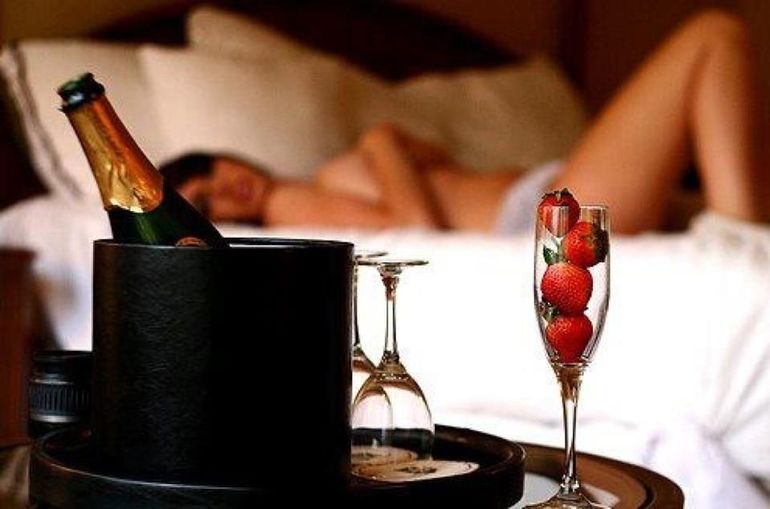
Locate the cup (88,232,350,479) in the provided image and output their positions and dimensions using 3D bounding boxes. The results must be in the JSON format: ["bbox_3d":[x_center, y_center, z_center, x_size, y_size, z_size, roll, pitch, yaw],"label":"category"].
[{"bbox_3d":[-0.167,0.088,0.757,0.217,0.213,0.193,2,-2,-30],"label":"cup"}]

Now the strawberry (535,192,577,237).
[{"bbox_3d":[0.172,-0.041,0.816,0.043,0.048,0.040,0,-7,-41],"label":"strawberry"}]

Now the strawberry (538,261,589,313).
[{"bbox_3d":[0.177,0.032,0.769,0.055,0.050,0.047,-2,-26,-8],"label":"strawberry"}]

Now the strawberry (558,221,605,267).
[{"bbox_3d":[0.193,-0.010,0.764,0.045,0.041,0.043,-20,19,22],"label":"strawberry"}]
